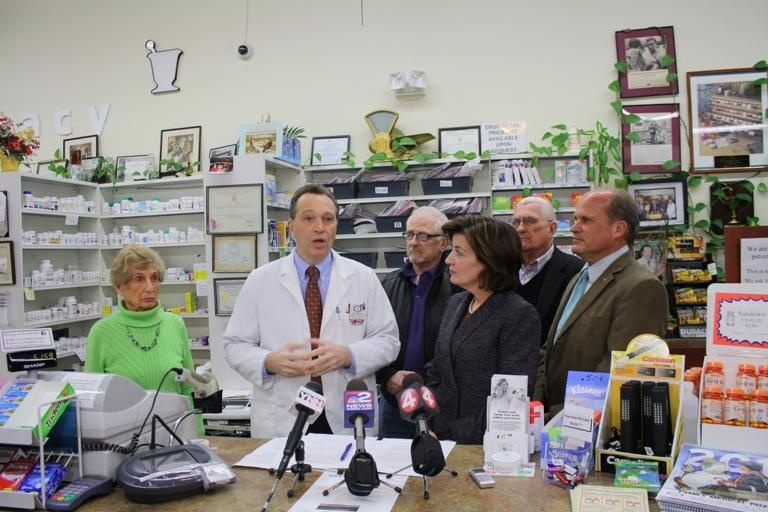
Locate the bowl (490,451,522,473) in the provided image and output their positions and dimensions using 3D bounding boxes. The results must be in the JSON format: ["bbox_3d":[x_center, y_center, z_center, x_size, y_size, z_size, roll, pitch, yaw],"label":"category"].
[{"bbox_3d":[0.591,0.982,3.034,0.101,0.047,0.102,-4,-2,0],"label":"bowl"}]

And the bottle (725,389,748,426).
[{"bbox_3d":[1.600,0.684,2.867,0.101,0.159,0.047,-2,3,20],"label":"bottle"}]

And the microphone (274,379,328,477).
[{"bbox_3d":[-0.427,0.878,3.203,0.123,0.447,0.189,26,-36,-4],"label":"microphone"}]

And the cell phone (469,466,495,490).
[{"bbox_3d":[0.465,1.038,2.960,0.096,0.061,0.106,-4,2,-17],"label":"cell phone"}]

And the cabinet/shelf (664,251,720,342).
[{"bbox_3d":[2.793,0.364,5.706,0.444,0.726,0.385,-2,3,17],"label":"cabinet/shelf"}]

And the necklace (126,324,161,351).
[{"bbox_3d":[-1.489,0.519,3.927,0.191,0.140,0.062,-4,3,-22],"label":"necklace"}]

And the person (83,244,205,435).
[{"bbox_3d":[-1.546,0.377,3.934,0.613,0.884,0.294,-4,3,-25],"label":"person"}]

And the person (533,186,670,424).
[{"bbox_3d":[1.224,0.260,3.624,0.724,1.291,0.526,-2,3,21],"label":"person"}]

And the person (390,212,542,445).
[{"bbox_3d":[0.526,0.385,3.453,0.637,1.213,0.495,-3,3,9],"label":"person"}]

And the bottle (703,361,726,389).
[{"bbox_3d":[1.538,0.556,2.931,0.090,0.130,0.085,16,-20,6],"label":"bottle"}]

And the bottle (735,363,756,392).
[{"bbox_3d":[1.661,0.557,2.894,0.092,0.122,0.060,-2,3,23],"label":"bottle"}]

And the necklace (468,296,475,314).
[{"bbox_3d":[0.501,0.282,3.588,0.013,0.071,0.043,30,-23,-27],"label":"necklace"}]

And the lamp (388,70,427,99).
[{"bbox_3d":[0.251,-1.757,6.637,0.394,0.256,0.255,2,-1,1],"label":"lamp"}]

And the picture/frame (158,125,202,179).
[{"bbox_3d":[-2.272,-1.149,7.088,0.721,0.811,0.030,-4,-12,16],"label":"picture/frame"}]

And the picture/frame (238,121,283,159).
[{"bbox_3d":[-1.200,-1.117,6.173,0.486,0.356,0.042,0,-8,8],"label":"picture/frame"}]
